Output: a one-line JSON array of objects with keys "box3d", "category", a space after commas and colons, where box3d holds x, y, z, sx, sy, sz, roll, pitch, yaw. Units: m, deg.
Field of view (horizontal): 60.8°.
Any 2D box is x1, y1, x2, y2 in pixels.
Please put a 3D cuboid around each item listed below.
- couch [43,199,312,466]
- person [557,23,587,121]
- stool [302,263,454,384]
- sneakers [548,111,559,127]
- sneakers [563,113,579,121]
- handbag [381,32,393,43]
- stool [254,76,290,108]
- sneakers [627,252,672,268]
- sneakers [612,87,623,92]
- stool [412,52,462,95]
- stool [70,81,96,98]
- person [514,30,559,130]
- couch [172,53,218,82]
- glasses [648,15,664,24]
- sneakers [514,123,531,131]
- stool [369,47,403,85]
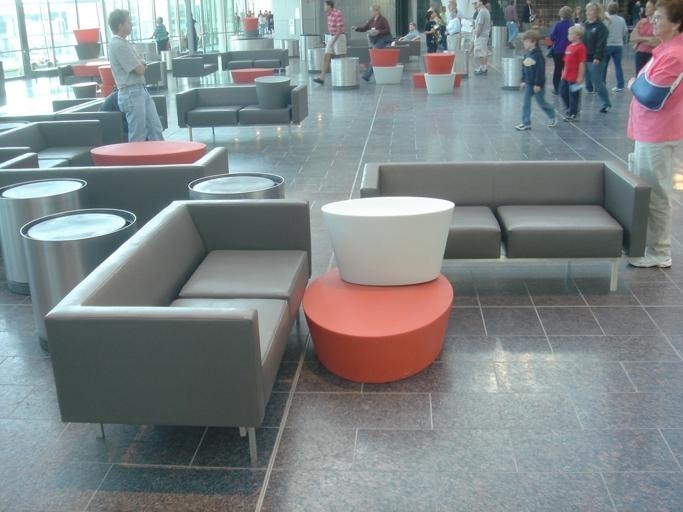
[{"box3d": [-0.860, 0.290, 3.810, 1.073, 0.805, 1.985, 1, 22, 4], "category": "couch"}, {"box3d": [4.305, -3.417, 10.861, 0.421, 1.682, 1.518, 3, 23, 20], "category": "person"}, {"box3d": [0.236, 0.495, 3.868, 0.986, 0.460, 0.639, -2, 21, 9], "category": "stool"}, {"box3d": [3.903, -2.551, 10.780, 0.162, 0.201, 0.494, -1, 28, 18], "category": "sneakers"}, {"box3d": [4.329, -2.634, 11.045, 0.136, 0.115, 0.279, -17, 22, -38], "category": "sneakers"}, {"box3d": [1.384, -6.698, 17.876, 0.313, 0.301, 0.073, -3, 8, -21], "category": "handbag"}, {"box3d": [-1.218, -2.954, 10.447, 0.596, 0.424, 0.564, 4, 28, 9], "category": "stool"}, {"box3d": [2.674, 0.036, 5.054, 0.297, 0.119, 0.191, 2, 10, 16], "category": "sneakers"}, {"box3d": [6.498, -3.920, 13.736, 0.233, 0.096, 0.118, 3, 34, 15], "category": "sneakers"}, {"box3d": [2.552, -4.899, 15.574, 1.195, 1.006, 1.449, -1, 21, 11], "category": "stool"}, {"box3d": [-5.154, -3.376, 11.778, 0.424, 0.353, 0.463, 4, 26, 1], "category": "stool"}, {"box3d": [3.509, -3.156, 10.416, 0.718, 1.699, 1.212, 2, 22, 19], "category": "person"}, {"box3d": [-4.619, -6.073, 18.606, 1.294, 0.646, 1.979, -7, 21, -6], "category": "couch"}, {"box3d": [2.503, -1.882, 4.622, 0.050, 0.081, 0.191, 1, 22, 16], "category": "glasses"}, {"box3d": [3.282, -2.344, 10.580, 0.303, 0.123, 0.110, 3, 29, 4], "category": "sneakers"}, {"box3d": [1.331, -5.871, 17.920, 1.163, 1.030, 0.973, 0, 18, -2], "category": "stool"}]
